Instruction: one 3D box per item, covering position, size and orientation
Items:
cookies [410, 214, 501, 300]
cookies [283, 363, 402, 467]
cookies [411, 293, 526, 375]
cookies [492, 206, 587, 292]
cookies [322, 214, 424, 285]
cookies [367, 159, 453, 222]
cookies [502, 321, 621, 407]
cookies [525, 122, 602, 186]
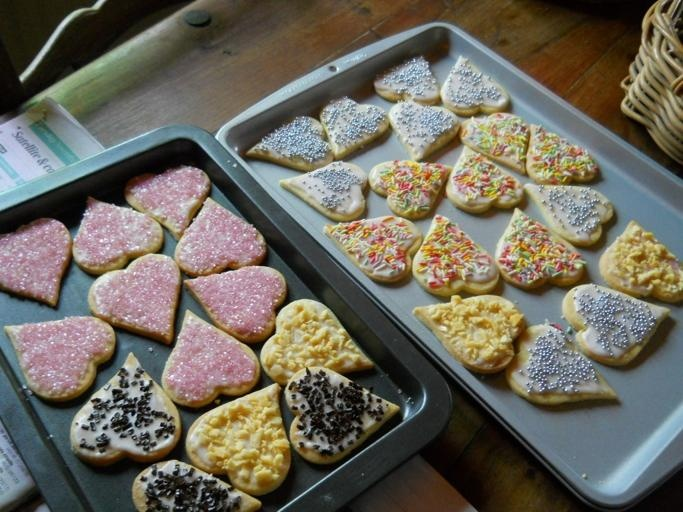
[{"bbox_3d":[0.264,0.024,1.512,0.179,0.066,0.225,-43,66,-10],"label":"cookies"},{"bbox_3d":[-0.020,0.341,1.279,0.225,0.044,0.180,23,72,19],"label":"cookies"},{"bbox_3d":[0.305,0.147,1.424,0.191,0.047,0.231,-42,66,-10],"label":"cookies"},{"bbox_3d":[0.483,0.008,1.525,0.213,0.059,0.186,30,74,21],"label":"cookies"},{"bbox_3d":[0.083,-0.006,1.515,0.228,0.061,0.161,-9,65,6],"label":"cookies"},{"bbox_3d":[0.186,-0.191,1.608,0.162,0.026,0.162,-33,55,-22],"label":"cookies"},{"bbox_3d":[0.488,0.244,1.404,0.239,0.067,0.185,-9,65,6],"label":"cookies"},{"bbox_3d":[0.597,-0.267,1.668,0.193,0.043,0.183,7,68,13],"label":"cookies"}]
